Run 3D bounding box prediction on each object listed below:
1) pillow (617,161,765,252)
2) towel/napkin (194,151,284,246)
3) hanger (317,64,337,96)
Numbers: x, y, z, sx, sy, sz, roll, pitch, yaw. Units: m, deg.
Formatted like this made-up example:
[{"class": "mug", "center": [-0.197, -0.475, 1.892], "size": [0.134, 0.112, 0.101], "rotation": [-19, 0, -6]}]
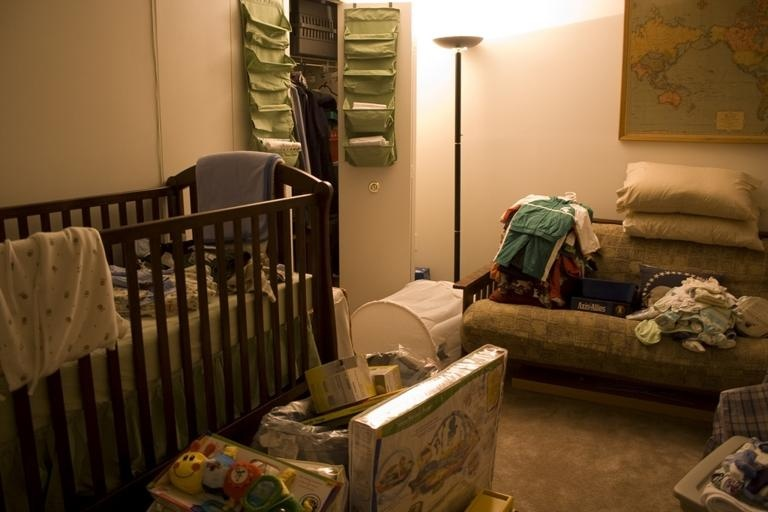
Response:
[{"class": "pillow", "center": [1.977, -0.318, 3.707], "size": [0.661, 0.335, 0.677], "rotation": [8, 29, 23]}, {"class": "towel/napkin", "center": [-0.829, -0.291, 3.170], "size": [0.411, 0.546, 0.195], "rotation": [2, -3, 19]}, {"class": "hanger", "center": [-0.542, -1.633, 5.283], "size": [0.238, 0.245, 0.065], "rotation": [10, 14, 21]}]
